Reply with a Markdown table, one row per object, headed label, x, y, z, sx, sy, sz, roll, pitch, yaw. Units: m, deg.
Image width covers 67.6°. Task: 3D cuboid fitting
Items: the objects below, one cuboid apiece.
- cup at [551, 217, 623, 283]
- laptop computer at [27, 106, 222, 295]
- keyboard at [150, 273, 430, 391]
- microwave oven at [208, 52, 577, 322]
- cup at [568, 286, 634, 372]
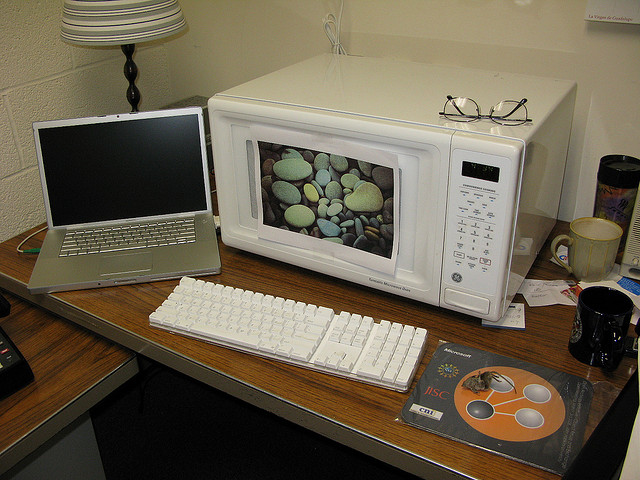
| label | x | y | z | sx | sy | sz | roll | pitch | yaw |
| --- | --- | --- | --- | --- | --- | --- | --- | --- | --- |
| cup | 0.523 | 0.025 | 0.972 | 0.142 | 0.110 | 0.095 | -8 | 30 | -5 |
| laptop computer | -0.426 | -0.143 | 1.052 | 0.426 | 0.245 | 0.335 | -8 | 12 | -14 |
| keyboard | -0.108 | 0.157 | 0.890 | 0.422 | 0.042 | 0.121 | 9 | 37 | 24 |
| microwave oven | 0.151 | -0.132 | 1.056 | 0.602 | 0.324 | 0.425 | 14 | 29 | 26 |
| cup | 0.467 | 0.146 | 0.795 | 0.086 | 0.119 | 0.075 | 20 | 33 | 34 |
